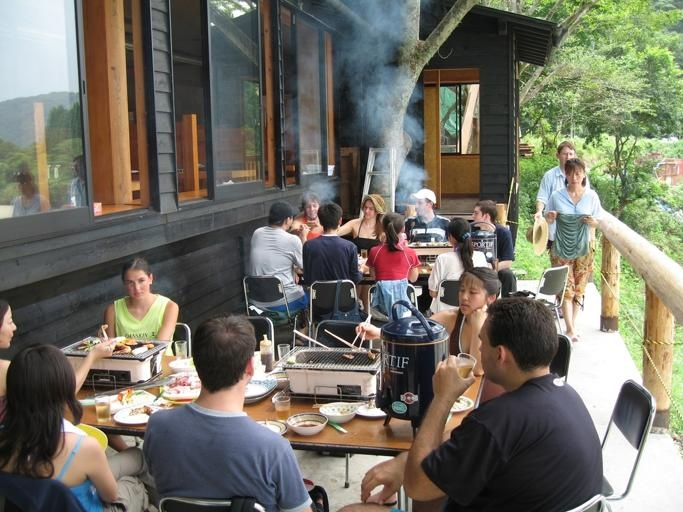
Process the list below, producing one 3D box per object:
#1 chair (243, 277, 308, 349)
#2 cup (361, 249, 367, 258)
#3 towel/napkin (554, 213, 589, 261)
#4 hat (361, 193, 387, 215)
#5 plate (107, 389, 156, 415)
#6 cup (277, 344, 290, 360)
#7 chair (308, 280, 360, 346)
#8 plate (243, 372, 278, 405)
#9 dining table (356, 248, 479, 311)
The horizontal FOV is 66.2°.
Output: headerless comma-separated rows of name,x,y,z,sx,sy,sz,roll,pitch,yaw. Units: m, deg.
chair,-0.593,0.484,4.843,0.501,0.805,0.559,2,32,11
cup,0.269,-0.031,6.297,0.069,0.093,0.089,-1,1,1
towel/napkin,2.688,-0.235,6.068,0.471,0.670,0.140,2,12,21
hat,0.368,-0.629,6.219,0.290,0.279,0.231,5,11,35
plate,-1.143,0.789,2.865,0.115,0.025,0.166,10,13,30
cup,-0.378,0.635,3.403,0.091,0.110,0.099,2,7,0
chair,-0.067,0.537,5.134,0.506,0.744,0.535,0,5,-5
plate,-0.451,0.744,2.937,0.229,0.056,0.222,-14,23,-36
dining table,0.891,0.240,5.752,0.886,0.613,0.664,1,15,8
